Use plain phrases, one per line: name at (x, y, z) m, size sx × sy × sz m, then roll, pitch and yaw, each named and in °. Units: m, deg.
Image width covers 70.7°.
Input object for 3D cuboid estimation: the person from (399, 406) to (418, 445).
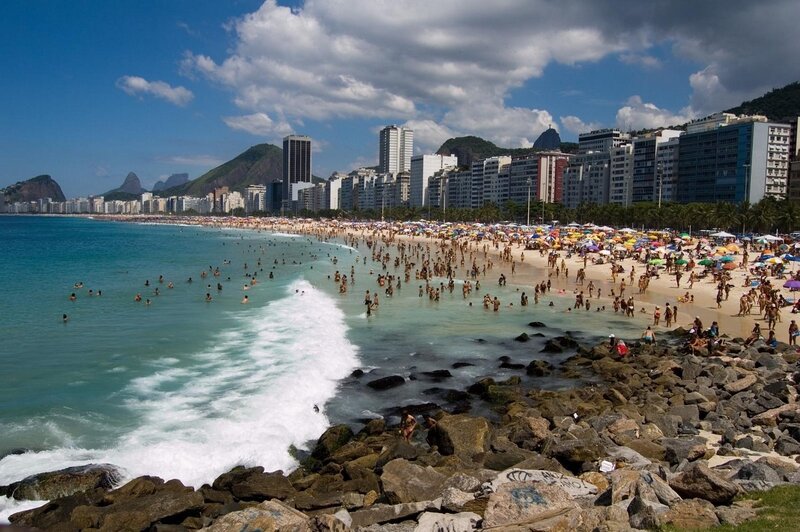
person at (0.292, 6.988, 24.549) m, size 0.727 × 0.982 × 1.246 m, roll 1°, pitch 8°, yaw 11°
